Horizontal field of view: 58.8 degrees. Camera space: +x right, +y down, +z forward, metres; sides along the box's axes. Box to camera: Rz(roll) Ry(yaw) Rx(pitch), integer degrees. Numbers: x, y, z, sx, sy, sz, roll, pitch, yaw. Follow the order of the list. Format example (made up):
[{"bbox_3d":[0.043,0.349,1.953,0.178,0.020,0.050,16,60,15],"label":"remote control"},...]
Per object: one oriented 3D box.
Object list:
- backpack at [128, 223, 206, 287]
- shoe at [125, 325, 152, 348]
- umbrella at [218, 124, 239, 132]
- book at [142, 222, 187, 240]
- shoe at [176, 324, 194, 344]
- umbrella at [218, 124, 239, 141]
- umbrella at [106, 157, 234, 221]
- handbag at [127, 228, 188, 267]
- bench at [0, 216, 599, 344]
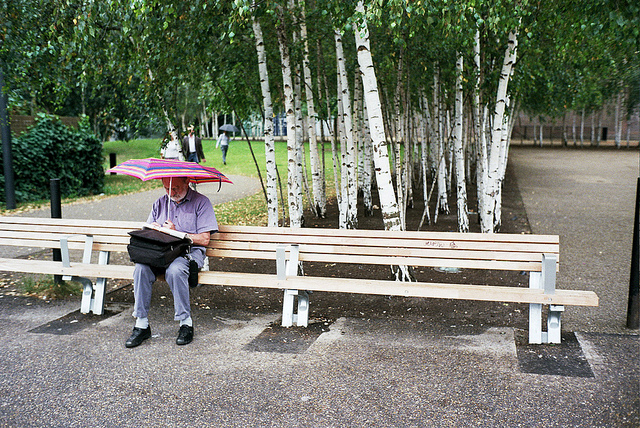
[{"bbox_3d":[-1.933,0.410,7.206,0.853,0.452,1.055,11,-1,-1],"label":"backpack"},{"bbox_3d":[-2.140,1.452,6.719,0.124,0.155,0.339,-2,1,20],"label":"shoe"},{"bbox_3d":[-4.417,-4.139,27.388,0.746,0.305,0.991,-3,6,-14],"label":"umbrella"},{"bbox_3d":[-1.937,0.210,7.022,0.668,0.174,0.235,3,7,33],"label":"book"},{"bbox_3d":[-1.594,1.408,6.757,0.198,0.209,0.153,-3,6,-20],"label":"shoe"},{"bbox_3d":[-4.402,-3.995,27.411,0.795,0.675,0.805,0,0,18],"label":"umbrella"},{"bbox_3d":[-1.782,-0.380,7.338,1.097,0.568,1.107,16,16,41],"label":"umbrella"},{"bbox_3d":[-1.983,0.390,7.030,0.612,0.346,0.722,12,11,16],"label":"handbag"},{"bbox_3d":[-0.642,0.656,8.260,7.896,1.405,2.913,0,6,9],"label":"bench"}]
